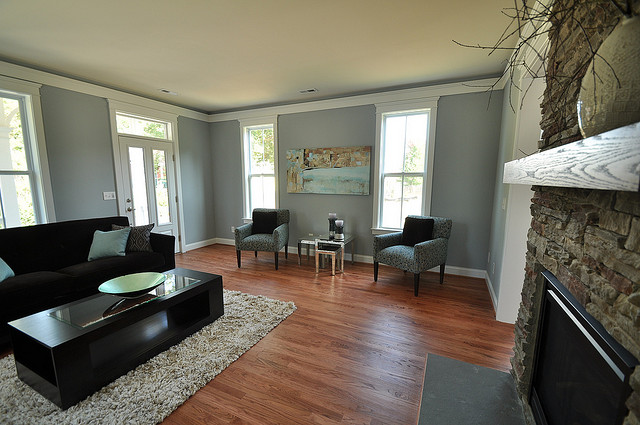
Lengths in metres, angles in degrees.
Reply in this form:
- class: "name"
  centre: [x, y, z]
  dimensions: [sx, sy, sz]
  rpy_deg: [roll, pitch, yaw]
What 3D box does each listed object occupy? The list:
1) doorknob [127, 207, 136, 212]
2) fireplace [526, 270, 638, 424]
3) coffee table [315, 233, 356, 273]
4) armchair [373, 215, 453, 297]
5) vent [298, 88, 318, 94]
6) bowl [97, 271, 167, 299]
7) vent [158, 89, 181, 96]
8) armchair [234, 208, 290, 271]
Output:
- class: "doorknob"
  centre: [-2.817, -0.041, 6.028]
  dimensions: [0.021, 0.070, 0.109]
  rpy_deg: [1, 7, 18]
- class: "fireplace"
  centre: [1.824, 1.041, 2.896]
  dimensions: [0.328, 1.091, 0.736]
  rpy_deg: [-3, 7, -10]
- class: "coffee table"
  centre: [0.232, 0.570, 6.045]
  dimensions: [0.532, 0.522, 0.648]
  rpy_deg: [-4, 6, -33]
- class: "armchair"
  centre: [1.233, 0.518, 5.417]
  dimensions: [0.793, 0.907, 0.828]
  rpy_deg: [8, 10, 37]
- class: "vent"
  centre: [-0.170, -1.779, 5.921]
  dimensions: [0.297, 0.020, 0.212]
  rpy_deg: [1, 6, 27]
- class: "bowl"
  centre: [-1.835, 0.749, 3.964]
  dimensions: [0.563, 0.144, 0.555]
  rpy_deg: [1, 9, 0]
- class: "vent"
  centre: [-2.216, -1.779, 5.969]
  dimensions: [0.179, 0.034, 0.295]
  rpy_deg: [2, 7, 33]
- class: "armchair"
  centre: [-0.877, 0.384, 6.323]
  dimensions: [0.830, 0.834, 0.787]
  rpy_deg: [-1, 9, -6]
